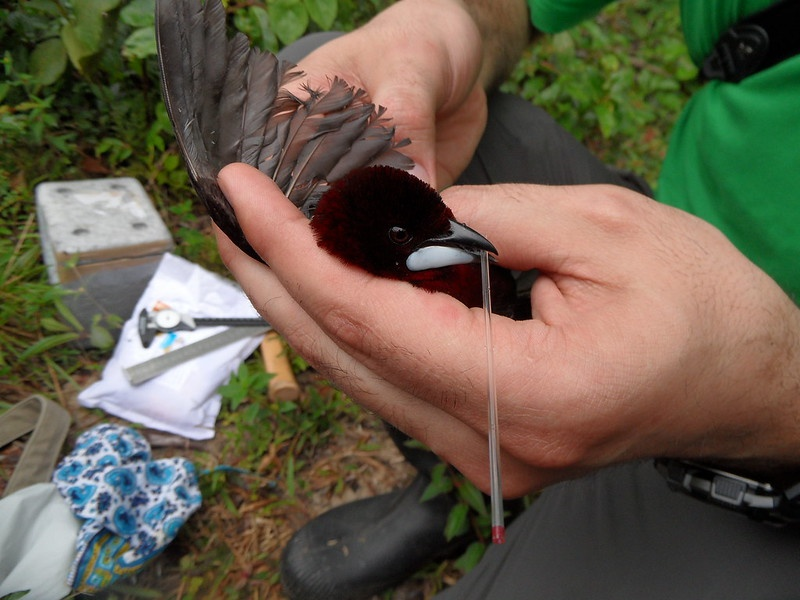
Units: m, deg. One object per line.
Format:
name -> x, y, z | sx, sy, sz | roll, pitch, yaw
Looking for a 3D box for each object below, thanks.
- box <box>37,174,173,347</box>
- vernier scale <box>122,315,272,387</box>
box -> -1.459, -0.255, 3.352 | 0.576, 0.206, 0.749 | -7, 57, -29
vernier scale -> -0.999, 0.255, 3.370 | 0.751, 0.033, 0.268 | -15, 63, -32
